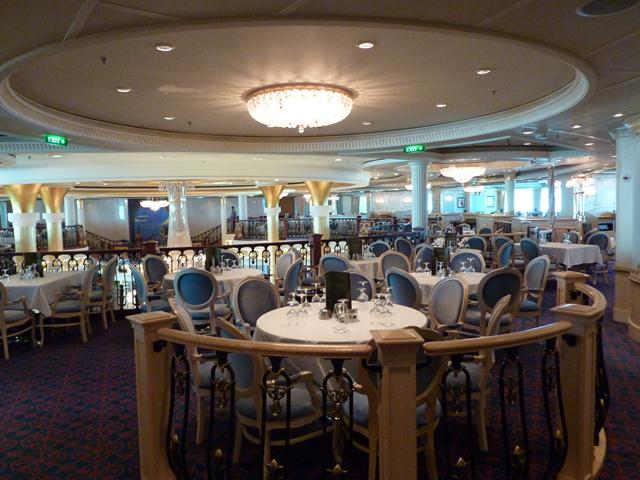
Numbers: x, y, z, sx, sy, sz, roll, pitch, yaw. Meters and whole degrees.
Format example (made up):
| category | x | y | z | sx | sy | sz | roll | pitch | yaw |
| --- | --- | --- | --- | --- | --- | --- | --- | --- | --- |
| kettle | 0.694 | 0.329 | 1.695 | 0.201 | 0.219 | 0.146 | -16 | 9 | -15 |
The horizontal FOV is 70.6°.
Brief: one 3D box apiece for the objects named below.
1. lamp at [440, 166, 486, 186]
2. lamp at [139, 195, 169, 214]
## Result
| category | x | y | z | sx | sy | sz | roll | pitch | yaw |
| --- | --- | --- | --- | --- | --- | --- | --- | --- | --- |
| lamp | 4.462 | -2.050 | 14.326 | 1.073 | 0.460 | 1.081 | 0 | 3 | 0 |
| lamp | -8.771 | -1.823 | 23.833 | 1.213 | 0.603 | 1.235 | 1 | 3 | 20 |
